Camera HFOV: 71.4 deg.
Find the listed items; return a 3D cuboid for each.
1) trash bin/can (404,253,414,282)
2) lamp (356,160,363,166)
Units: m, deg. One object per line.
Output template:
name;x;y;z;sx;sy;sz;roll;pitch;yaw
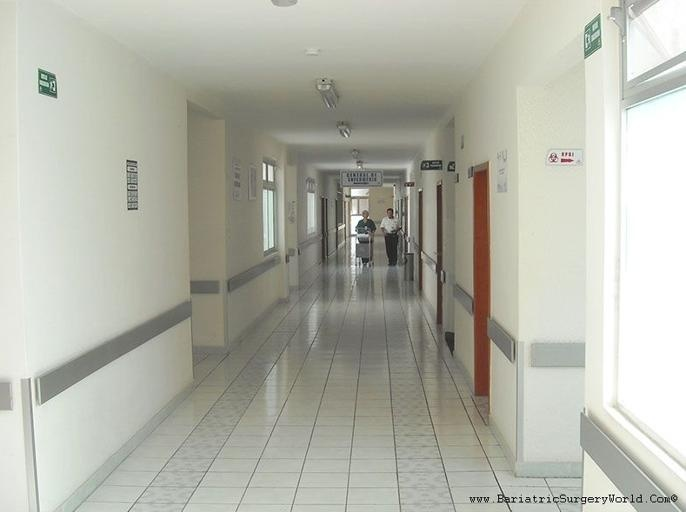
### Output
trash bin/can;1.910;0.295;13.670;0.320;0.796;0.249;4;9;30
lamp;0.522;-2.852;14.534;0.129;0.187;0.137;-1;-4;-4
